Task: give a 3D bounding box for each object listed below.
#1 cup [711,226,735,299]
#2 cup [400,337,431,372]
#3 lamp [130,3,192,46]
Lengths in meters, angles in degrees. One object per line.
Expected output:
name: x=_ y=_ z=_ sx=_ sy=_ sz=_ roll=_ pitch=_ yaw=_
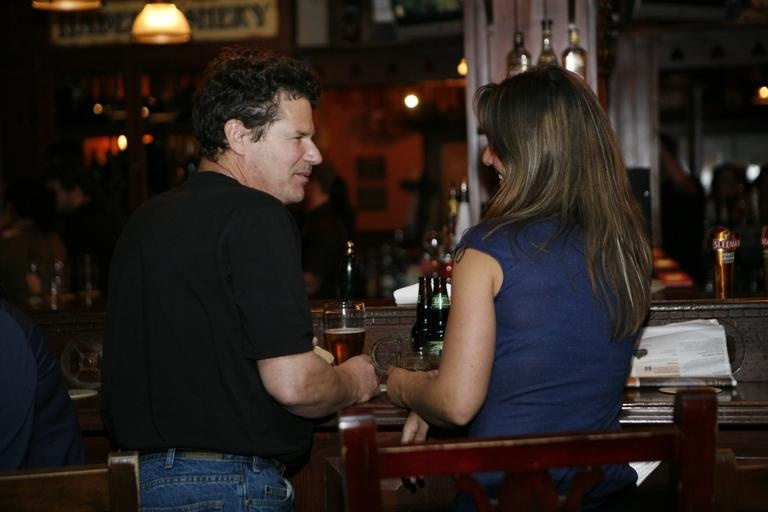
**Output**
cup: x=1.384 y=0.025 z=3.584 sx=0.092 sy=0.296 sz=0.175 roll=-2 pitch=-1 yaw=21
cup: x=0.118 y=0.374 z=3.299 sx=0.101 sy=0.099 sz=0.106 roll=0 pitch=-6 yaw=0
lamp: x=-1.477 y=-1.513 z=5.868 sx=0.329 sy=0.321 sz=0.330 roll=0 pitch=-2 yaw=0
